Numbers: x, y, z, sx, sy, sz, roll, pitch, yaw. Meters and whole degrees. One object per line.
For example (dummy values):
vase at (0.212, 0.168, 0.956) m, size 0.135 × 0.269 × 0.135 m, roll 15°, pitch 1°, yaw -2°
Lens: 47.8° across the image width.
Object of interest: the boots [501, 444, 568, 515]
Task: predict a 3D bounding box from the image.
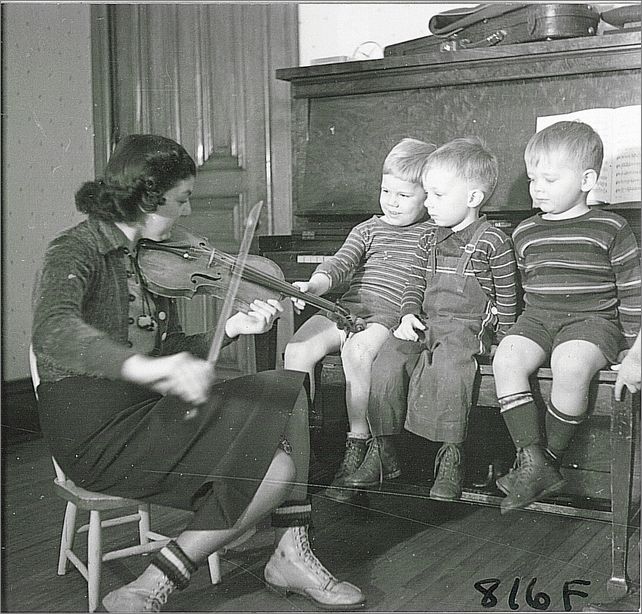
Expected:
boots at (0.447, 0.365, 1.548) m, size 0.163 × 0.105 × 0.062 m, roll -36°, pitch -35°, yaw 27°

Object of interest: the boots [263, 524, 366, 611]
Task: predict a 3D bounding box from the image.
boots at (0.038, 0.546, 1.575) m, size 0.294 × 0.170 × 0.098 m, roll 8°, pitch 7°, yaw 7°

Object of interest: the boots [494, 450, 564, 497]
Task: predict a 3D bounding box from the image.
boots at (0.440, 0.343, 1.520) m, size 0.153 × 0.087 × 0.052 m, roll -11°, pitch -14°, yaw 33°

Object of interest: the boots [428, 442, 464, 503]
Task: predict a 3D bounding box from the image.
boots at (0.266, 0.350, 1.523) m, size 0.053 × 0.056 × 0.144 m, roll 2°, pitch 18°, yaw 13°

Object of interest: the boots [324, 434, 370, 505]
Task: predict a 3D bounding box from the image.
boots at (0.055, 0.346, 1.487) m, size 0.063 × 0.070 × 0.183 m, roll 15°, pitch 0°, yaw 24°

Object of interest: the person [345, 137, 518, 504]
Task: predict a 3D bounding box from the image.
person at (0.232, 0.021, 1.506) m, size 0.327 × 0.731 × 0.094 m, roll 2°, pitch 11°, yaw 3°

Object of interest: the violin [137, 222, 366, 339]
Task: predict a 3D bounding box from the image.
violin at (-0.138, -0.040, 1.560) m, size 0.553 × 0.174 × 0.083 m, roll 18°, pitch -11°, yaw -10°
